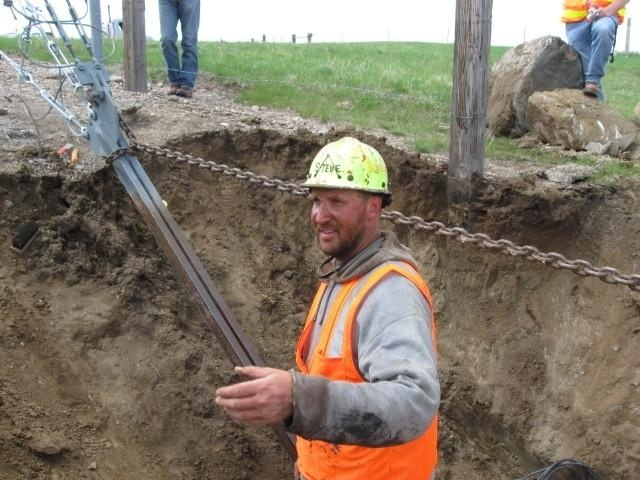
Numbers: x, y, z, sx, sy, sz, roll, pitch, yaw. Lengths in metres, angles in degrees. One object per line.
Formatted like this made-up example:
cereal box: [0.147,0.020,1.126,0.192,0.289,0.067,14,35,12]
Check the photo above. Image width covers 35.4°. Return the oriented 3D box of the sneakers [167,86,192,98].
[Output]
sneakers: [-2.113,-2.232,15.099,0.163,0.144,0.310,16,1,19]

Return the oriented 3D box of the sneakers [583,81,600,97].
sneakers: [3.948,-2.158,14.437,0.123,0.150,0.317,2,8,6]
